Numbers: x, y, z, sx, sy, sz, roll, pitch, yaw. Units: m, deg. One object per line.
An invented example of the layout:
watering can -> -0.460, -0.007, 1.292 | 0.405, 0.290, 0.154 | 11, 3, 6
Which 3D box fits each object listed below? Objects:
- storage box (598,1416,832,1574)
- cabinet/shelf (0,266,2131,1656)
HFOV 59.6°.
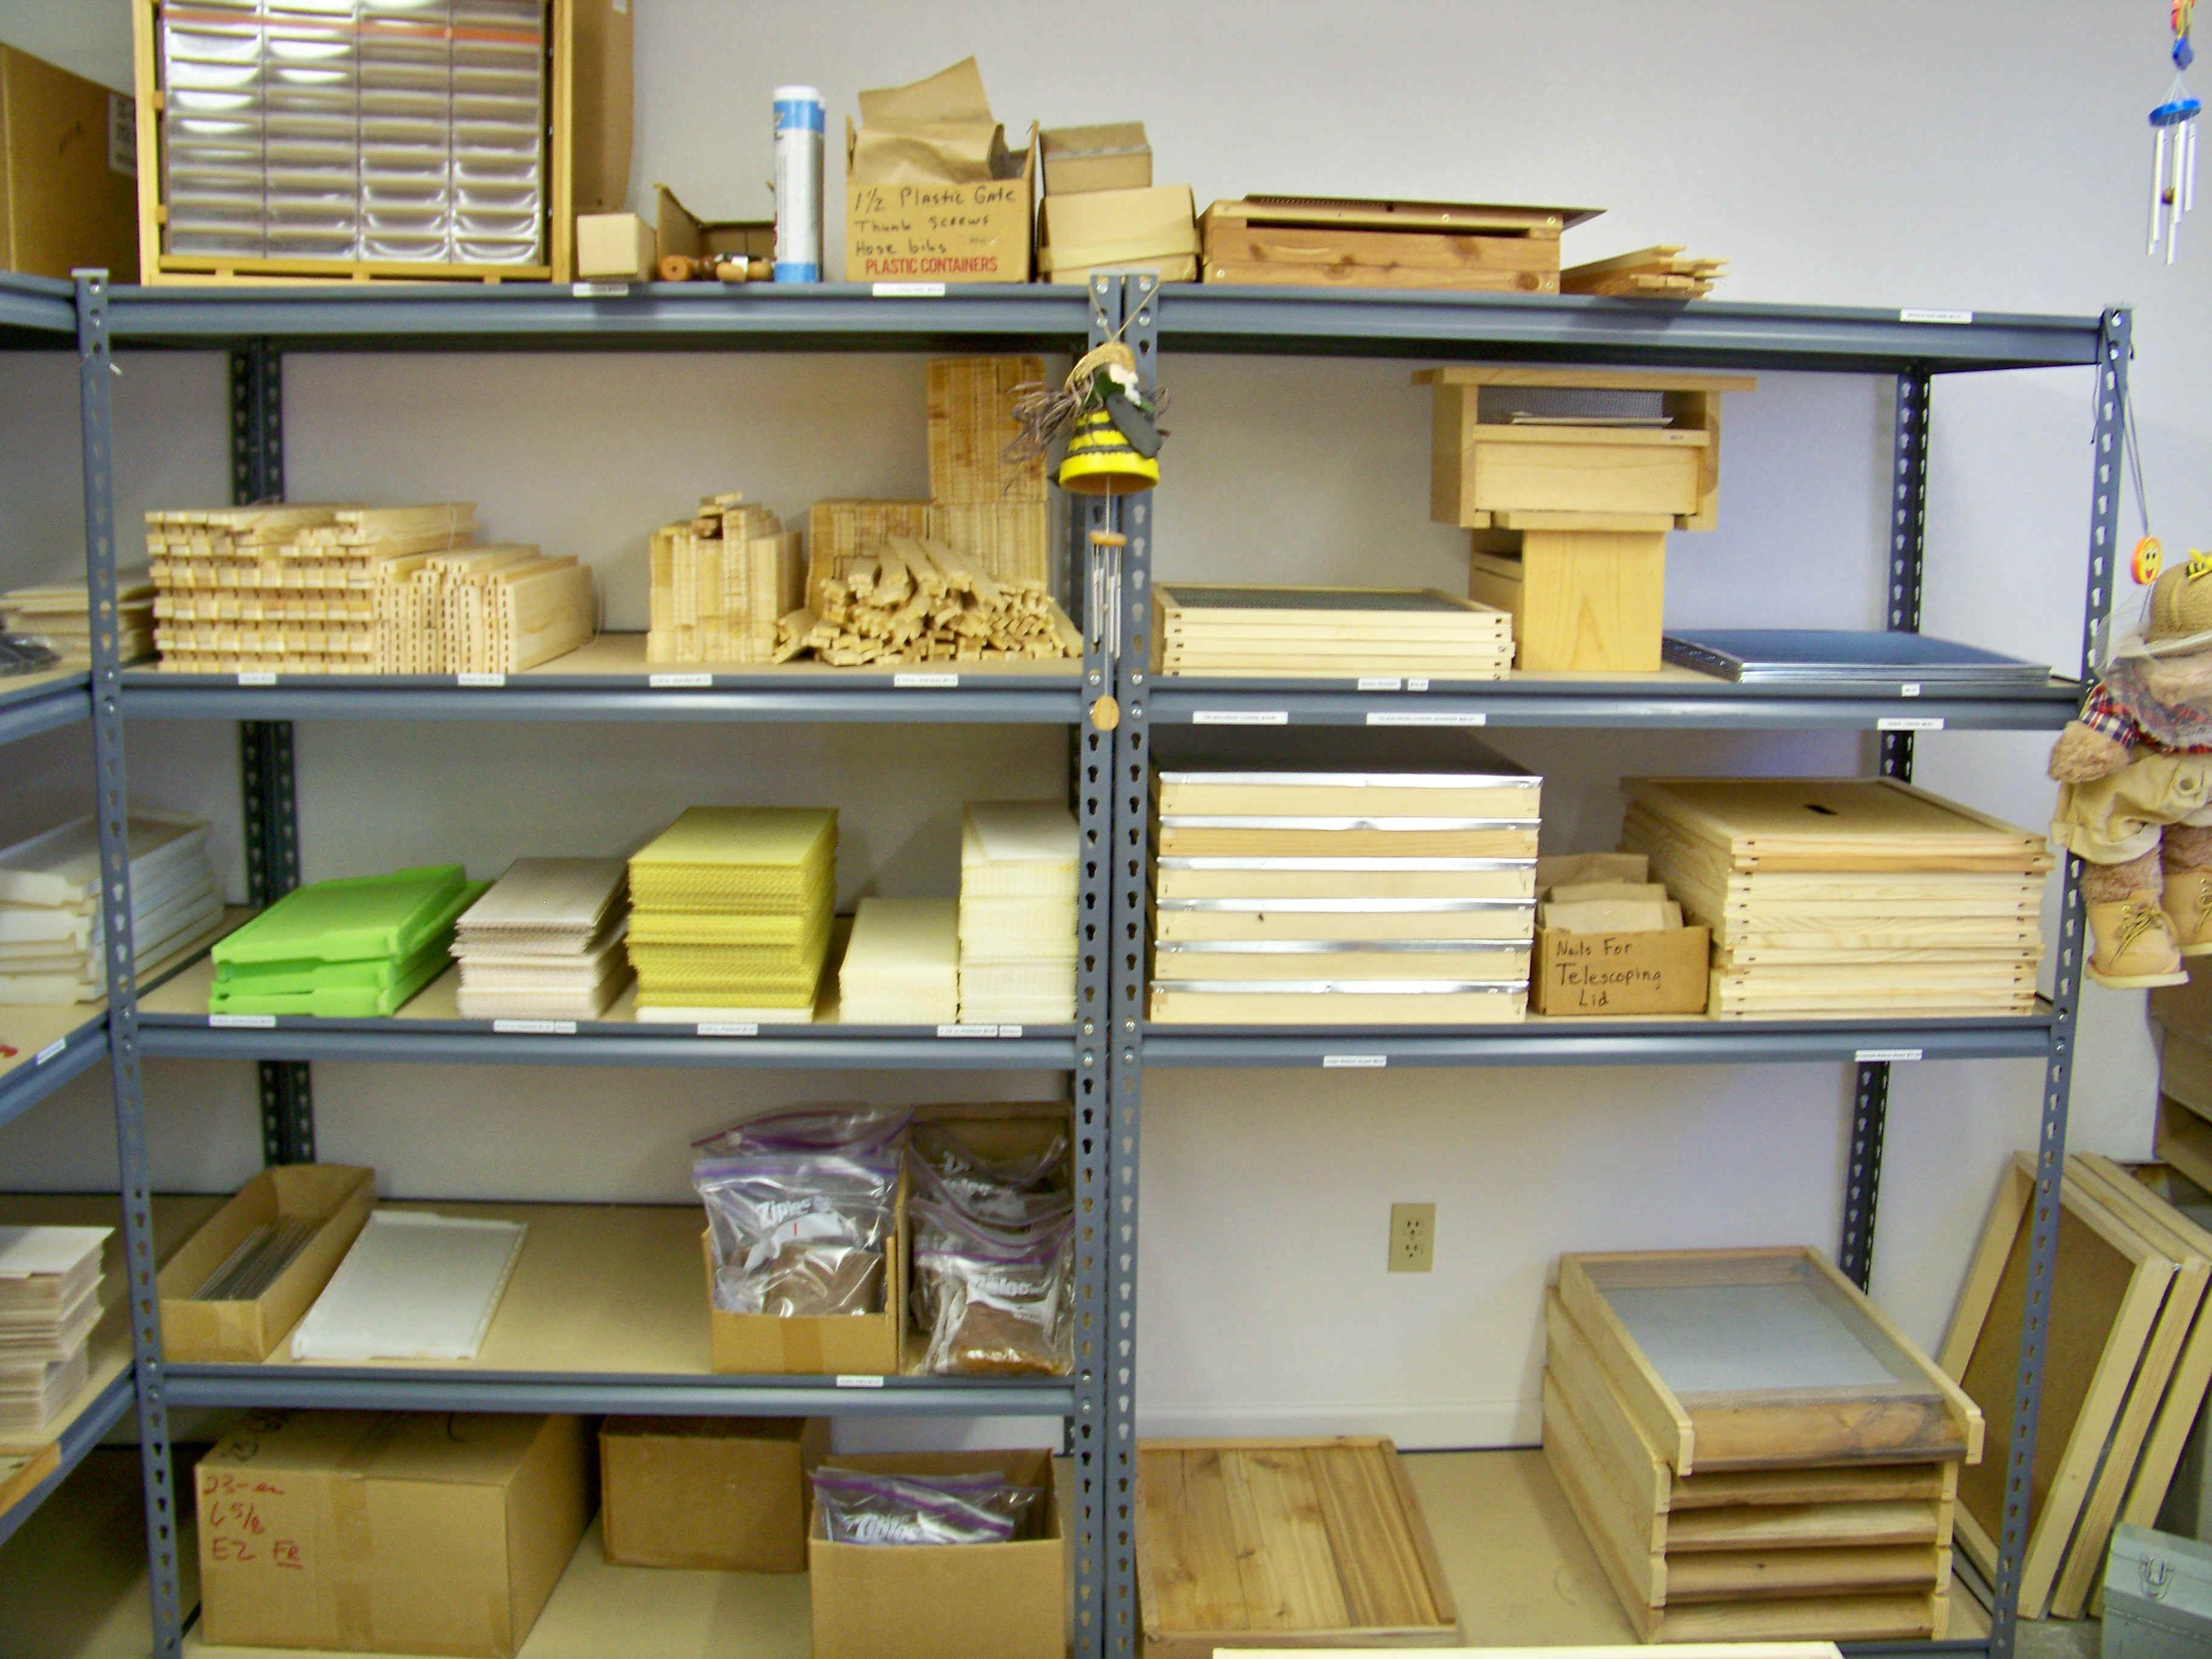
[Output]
storage box -> -0.723, 1.218, 3.537 | 0.310, 0.196, 0.312 | 1, 1, -5
cabinet/shelf -> -0.157, 0.188, 3.438 | 2.515, 1.914, 0.478 | 0, 8, 0
